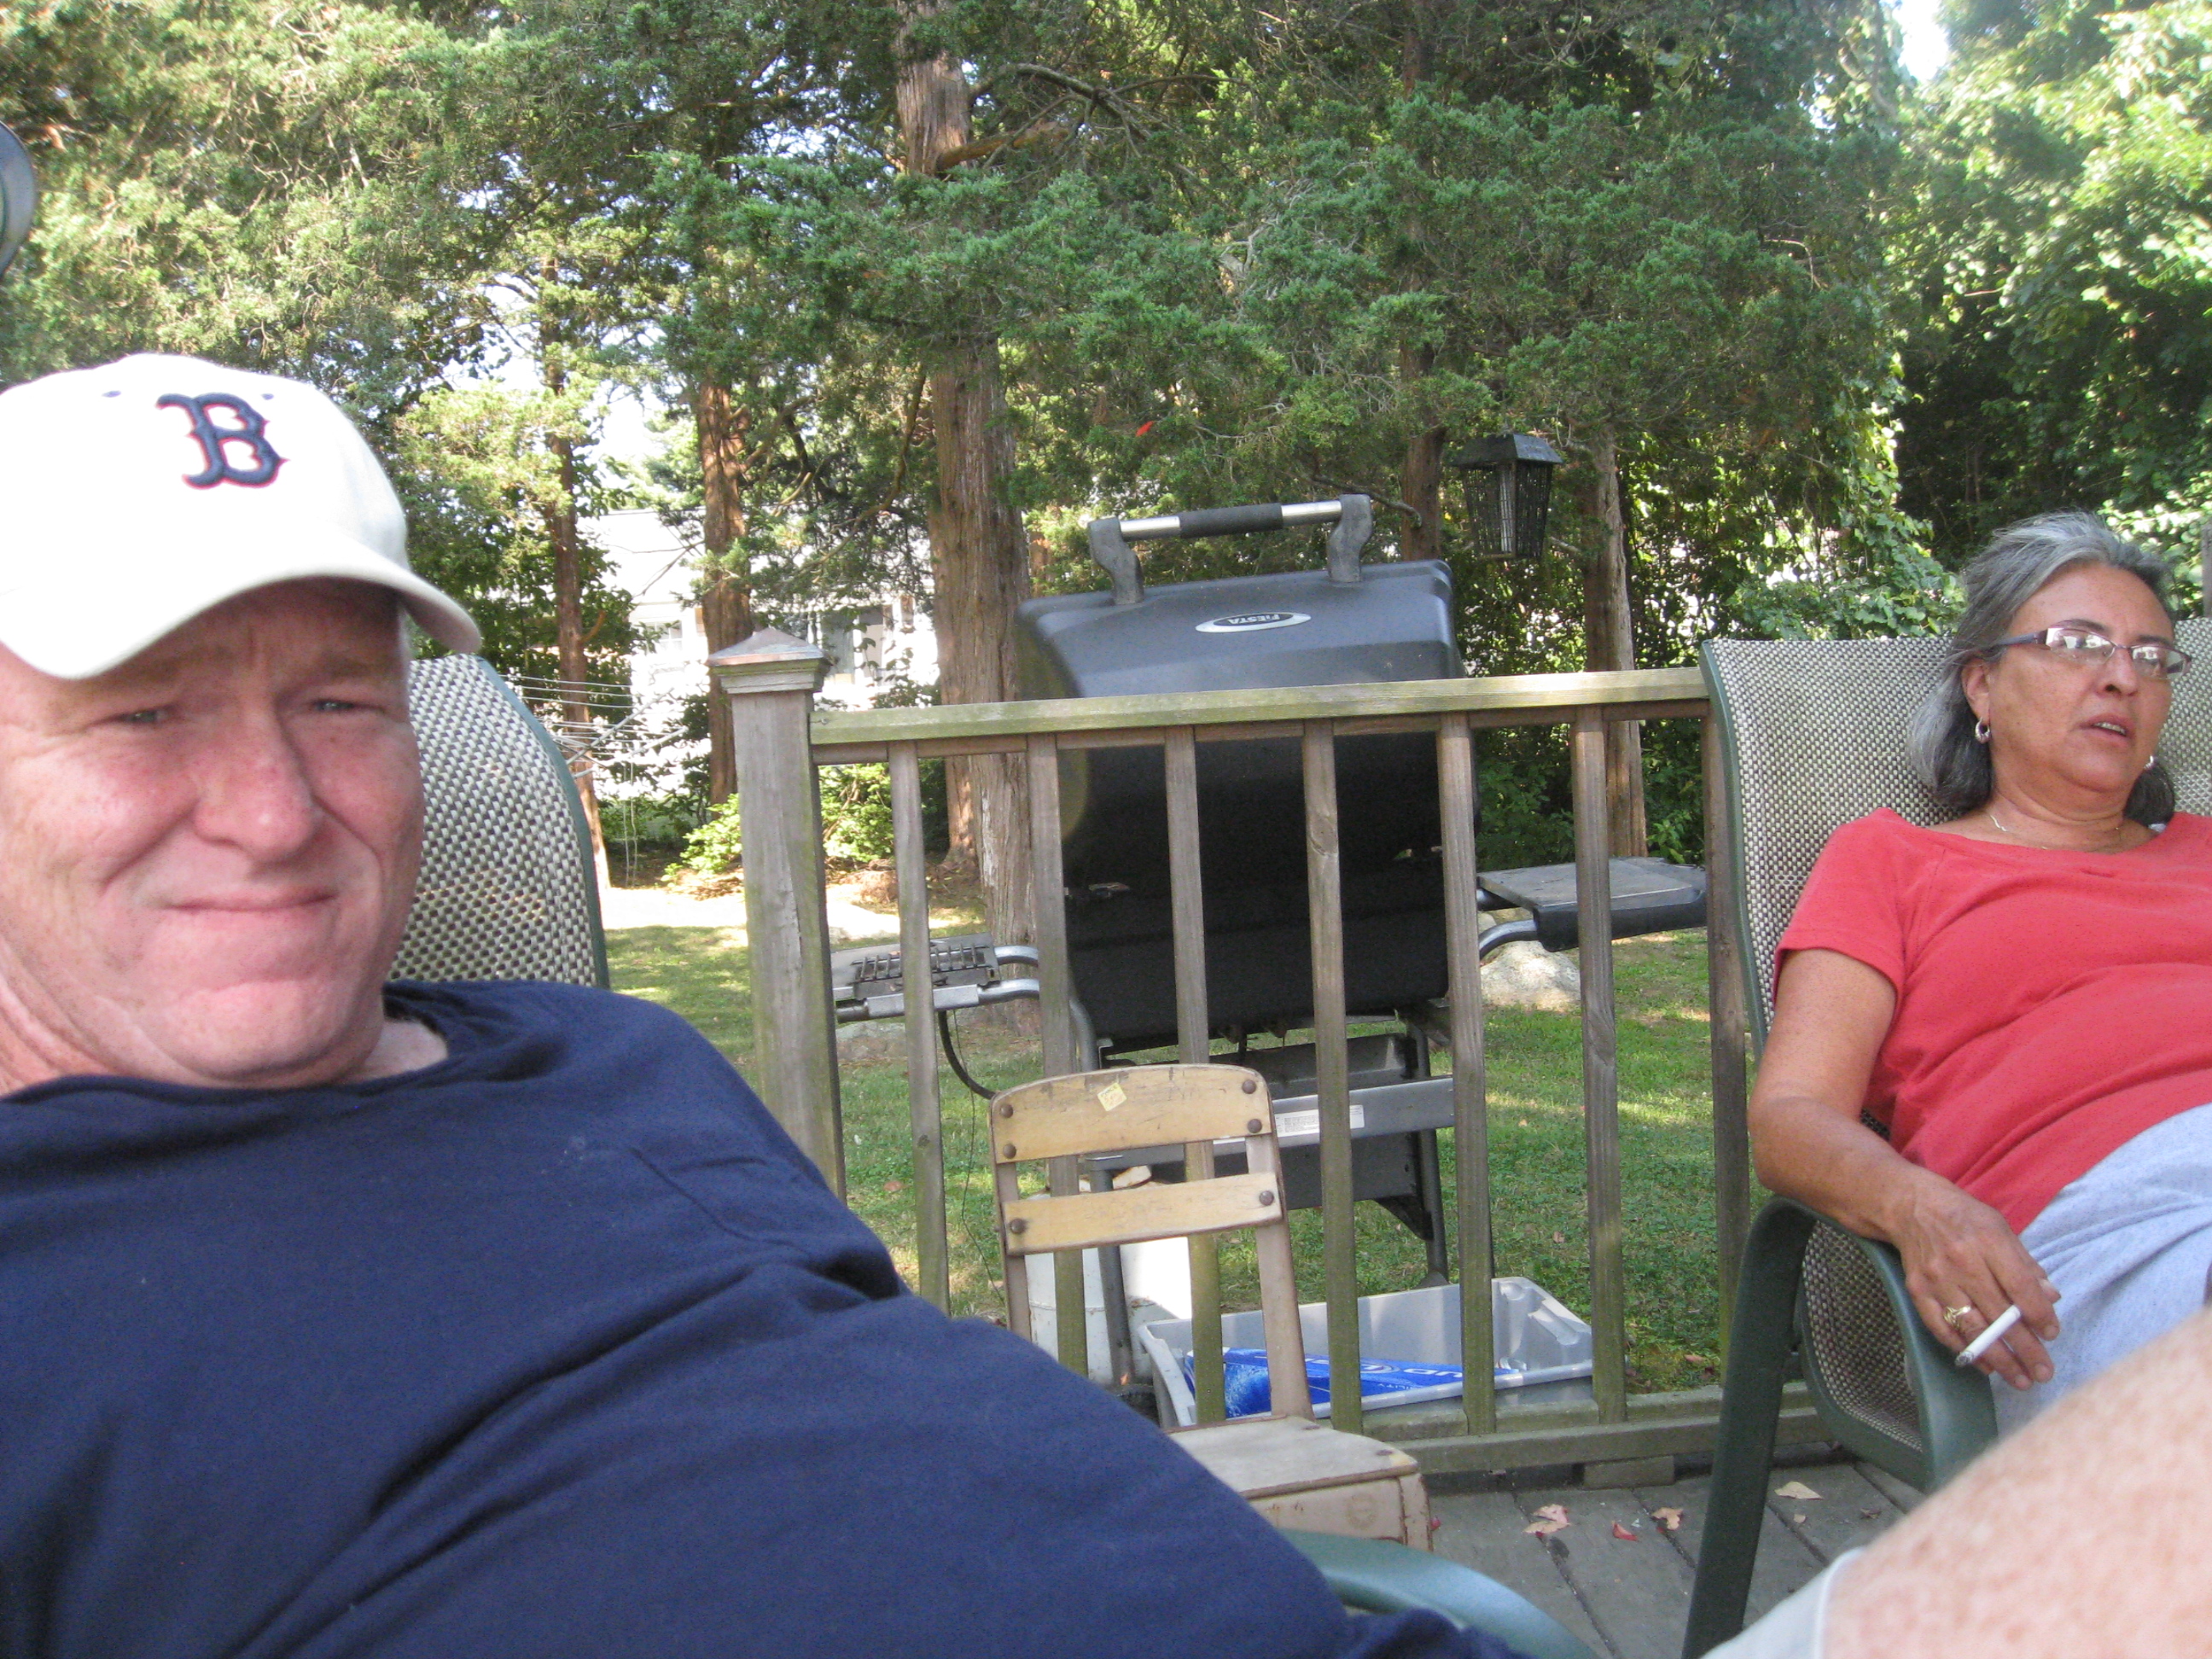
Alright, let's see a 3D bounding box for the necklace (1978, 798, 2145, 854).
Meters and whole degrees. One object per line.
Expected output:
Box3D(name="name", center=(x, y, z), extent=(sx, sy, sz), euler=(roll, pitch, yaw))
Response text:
Box3D(name="necklace", center=(1.516, 0.006, 3.435), extent=(0.153, 0.051, 0.125), euler=(7, 4, 32))
